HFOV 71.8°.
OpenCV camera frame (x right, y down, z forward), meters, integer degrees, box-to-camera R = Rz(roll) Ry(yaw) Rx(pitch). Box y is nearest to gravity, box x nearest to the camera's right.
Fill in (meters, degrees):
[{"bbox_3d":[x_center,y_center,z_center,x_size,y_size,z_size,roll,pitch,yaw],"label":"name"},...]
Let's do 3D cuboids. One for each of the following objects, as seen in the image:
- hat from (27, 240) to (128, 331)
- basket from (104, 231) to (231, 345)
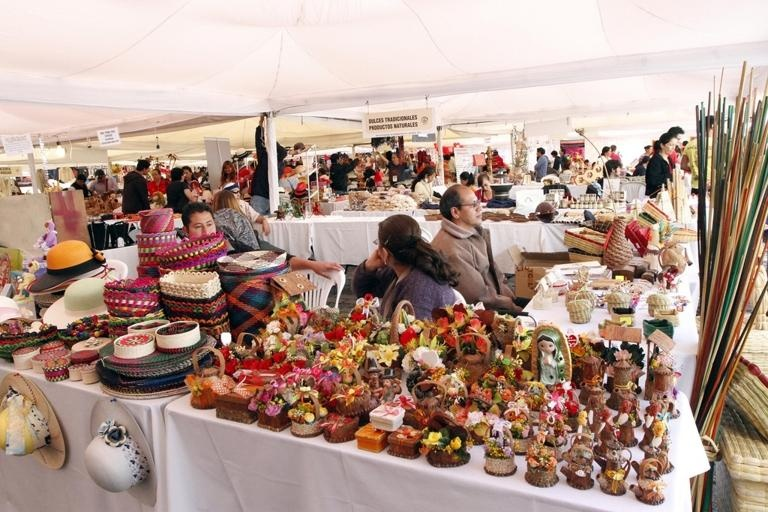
[{"bbox_3d":[-1.862,0.155,3.226,0.615,0.236,0.545,-22,43,-33],"label":"hat"},{"bbox_3d":[-1.113,0.152,2.986,0.672,0.493,0.475,-1,9,4],"label":"basket"}]
